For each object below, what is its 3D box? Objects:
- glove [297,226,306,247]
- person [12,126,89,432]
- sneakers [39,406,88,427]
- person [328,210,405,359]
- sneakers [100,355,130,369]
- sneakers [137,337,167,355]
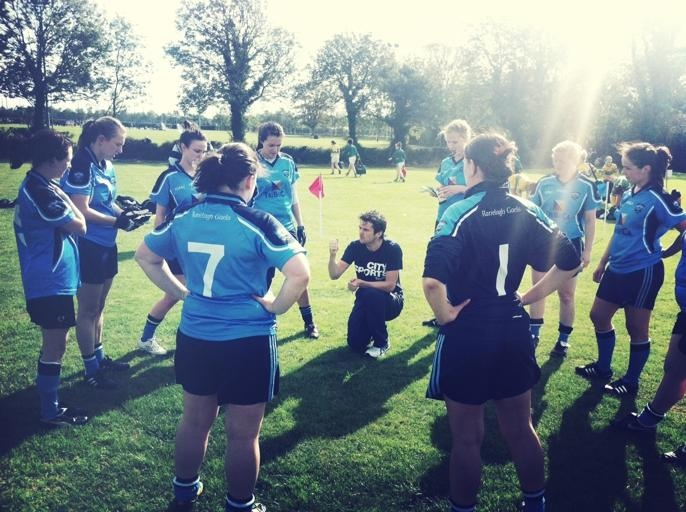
[{"bbox_3d":[-0.653,-0.311,8.951,0.070,0.264,0.179,-6,15,6],"label":"glove"},{"bbox_3d":[-3.339,0.235,6.741,0.802,3.351,0.576,7,9,22],"label":"person"},{"bbox_3d":[-3.223,1.885,6.788,0.543,0.286,0.204,1,7,-6],"label":"sneakers"},{"bbox_3d":[0.357,0.354,8.186,0.963,1.983,0.619,5,9,7],"label":"person"},{"bbox_3d":[-3.018,1.381,7.677,0.385,0.211,0.144,4,9,-15],"label":"sneakers"},{"bbox_3d":[-2.667,1.255,8.079,0.357,0.188,0.202,13,14,2],"label":"sneakers"}]
